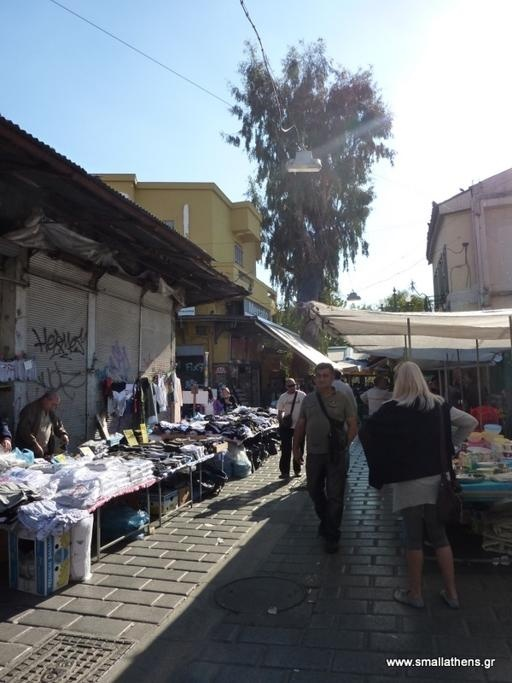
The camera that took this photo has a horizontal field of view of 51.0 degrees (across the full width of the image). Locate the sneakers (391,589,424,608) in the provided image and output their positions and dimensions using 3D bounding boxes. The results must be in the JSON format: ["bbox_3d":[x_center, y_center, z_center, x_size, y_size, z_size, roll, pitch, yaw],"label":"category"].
[{"bbox_3d":[1.005,1.682,3.497,0.069,0.060,0.156,3,1,-31],"label":"sneakers"}]

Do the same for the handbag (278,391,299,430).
[{"bbox_3d":[0.517,1.153,8.735,0.176,0.542,0.368,18,-19,1],"label":"handbag"}]

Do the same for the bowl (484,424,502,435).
[{"bbox_3d":[2.412,0.887,5.452,0.126,0.086,0.133,-1,0,0],"label":"bowl"}]

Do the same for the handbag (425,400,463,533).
[{"bbox_3d":[1.250,0.799,3.509,0.154,0.748,0.281,-5,-7,31],"label":"handbag"}]

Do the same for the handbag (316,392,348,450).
[{"bbox_3d":[0.759,0.775,5.039,0.135,0.412,0.247,-25,-17,18],"label":"handbag"}]
